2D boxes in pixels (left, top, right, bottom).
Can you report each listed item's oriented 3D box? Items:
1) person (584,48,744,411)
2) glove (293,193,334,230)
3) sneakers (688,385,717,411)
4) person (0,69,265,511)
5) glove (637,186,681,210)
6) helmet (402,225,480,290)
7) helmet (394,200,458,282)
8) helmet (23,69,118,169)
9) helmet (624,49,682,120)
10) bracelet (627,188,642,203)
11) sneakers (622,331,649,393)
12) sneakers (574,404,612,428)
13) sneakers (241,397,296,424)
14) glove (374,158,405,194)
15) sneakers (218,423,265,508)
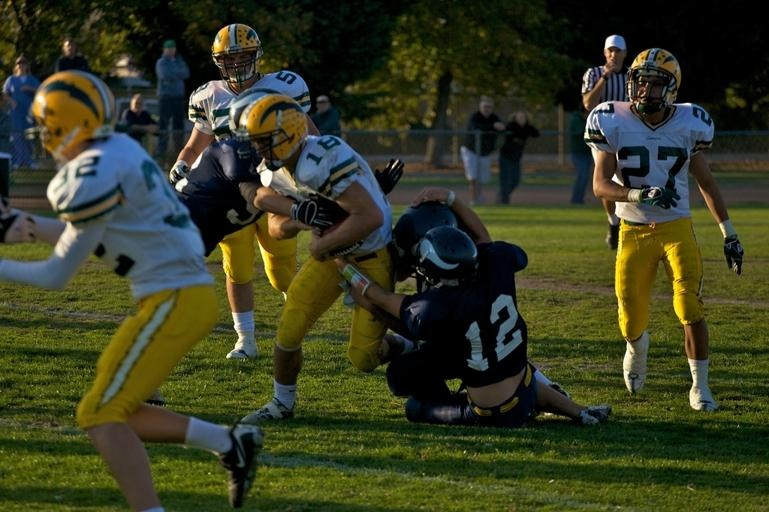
[{"bbox_3d":[2.114,-0.239,9.446,1.142,2.711,0.817,1,8,14],"label":"person"},{"bbox_3d":[-0.529,-0.299,8.784,0.288,0.229,0.179,-4,9,-27],"label":"glove"},{"bbox_3d":[2.415,1.084,9.213,0.223,0.155,0.180,2,8,18],"label":"sneakers"},{"bbox_3d":[-1.727,0.200,7.704,1.079,2.704,0.601,2,8,19],"label":"person"},{"bbox_3d":[2.082,-0.436,9.235,0.302,0.168,0.283,1,8,12],"label":"glove"},{"bbox_3d":[0.430,-0.022,8.718,0.433,0.415,0.529,-4,20,-18],"label":"helmet"},{"bbox_3d":[0.204,-0.119,8.954,0.462,0.515,0.517,4,40,-20],"label":"helmet"},{"bbox_3d":[-2.030,-0.917,7.853,0.590,0.549,0.457,8,11,33],"label":"helmet"},{"bbox_3d":[2.086,-1.368,9.527,0.393,0.512,0.547,7,4,16],"label":"helmet"},{"bbox_3d":[1.897,-0.456,9.237,0.102,0.091,0.083,1,5,15],"label":"bracelet"},{"bbox_3d":[1.985,0.835,9.544,0.173,0.480,0.212,8,18,25],"label":"sneakers"},{"bbox_3d":[1.533,1.188,8.949,0.304,0.101,0.130,-6,-17,4],"label":"sneakers"},{"bbox_3d":[-0.859,1.169,9.026,0.452,0.173,0.143,0,-4,-17],"label":"sneakers"},{"bbox_3d":[0.014,-0.601,9.224,0.206,0.250,0.419,-1,8,-1],"label":"glove"},{"bbox_3d":[-0.929,1.285,7.744,0.284,0.581,0.187,0,3,-27],"label":"sneakers"}]
